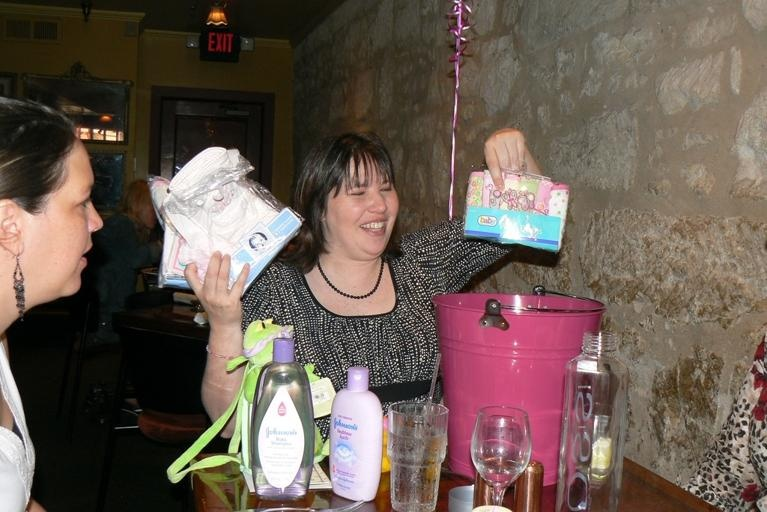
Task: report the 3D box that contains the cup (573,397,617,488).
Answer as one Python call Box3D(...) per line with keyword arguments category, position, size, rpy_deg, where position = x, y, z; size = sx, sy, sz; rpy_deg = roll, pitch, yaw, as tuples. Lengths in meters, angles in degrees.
Box3D(category="cup", position=(0.491, 0.425, 1.403), size=(0.096, 0.192, 0.049), rpy_deg=(7, 9, 19))

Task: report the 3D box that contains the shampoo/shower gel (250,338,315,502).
Box3D(category="shampoo/shower gel", position=(-0.241, 0.375, 1.440), size=(0.160, 0.371, 0.136), rpy_deg=(3, 9, -7))

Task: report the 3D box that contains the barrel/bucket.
Box3D(category="barrel/bucket", position=(0.333, 0.311, 1.665), size=(0.433, 0.460, 0.473), rpy_deg=(2, -3, 0))

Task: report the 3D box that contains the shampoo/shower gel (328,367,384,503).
Box3D(category="shampoo/shower gel", position=(-0.062, 0.414, 1.423), size=(0.125, 0.305, 0.093), rpy_deg=(2, 9, -9))
